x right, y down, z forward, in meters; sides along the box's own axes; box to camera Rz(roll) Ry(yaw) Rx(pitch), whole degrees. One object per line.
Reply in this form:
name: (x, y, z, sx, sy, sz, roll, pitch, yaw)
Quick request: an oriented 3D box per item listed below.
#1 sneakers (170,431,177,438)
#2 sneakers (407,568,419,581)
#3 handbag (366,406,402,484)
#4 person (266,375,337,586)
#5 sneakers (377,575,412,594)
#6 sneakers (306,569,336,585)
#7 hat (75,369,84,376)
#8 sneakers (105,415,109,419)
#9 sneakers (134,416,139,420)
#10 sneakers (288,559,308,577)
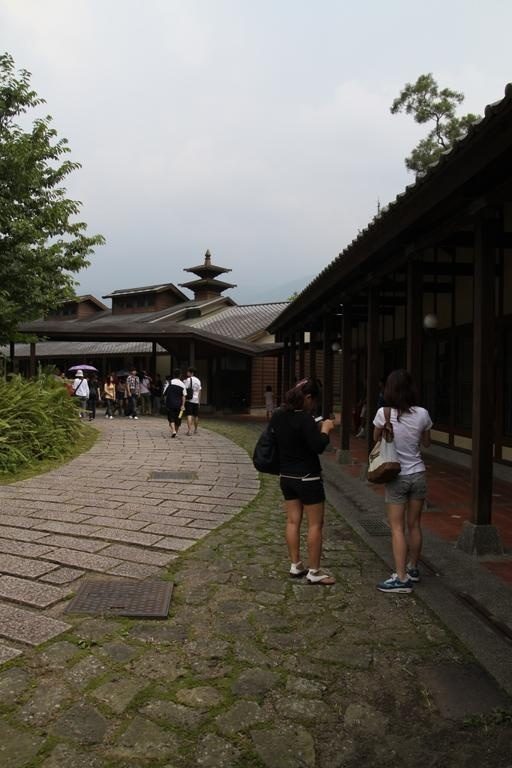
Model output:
sneakers: (-1.956, 1.225, 13.002, 0.100, 0.123, 0.281, 0, -9, -7)
sneakers: (1.069, 1.299, 3.690, 0.051, 0.066, 0.141, 0, 1, 0)
handbag: (0.832, 0.412, 3.552, 0.157, 0.359, 0.232, 2, -1, -37)
person: (0.319, 0.666, 3.749, 0.460, 1.095, 0.573, 1, 0, 13)
sneakers: (0.910, 1.317, 3.588, 0.240, 0.132, 0.095, 2, -8, 2)
sneakers: (0.447, 1.297, 3.705, 0.169, 0.106, 0.095, -3, 1, -3)
hat: (-6.422, -0.410, 19.928, 0.337, 0.185, 0.333, -4, 4, -34)
sneakers: (-5.176, 1.167, 18.984, 0.101, 0.136, 0.194, 1, 0, -6)
sneakers: (-4.105, 1.172, 18.775, 0.091, 0.110, 0.251, 0, -7, -14)
sneakers: (0.294, 1.304, 3.849, 0.064, 0.090, 0.187, 1, -1, 19)
